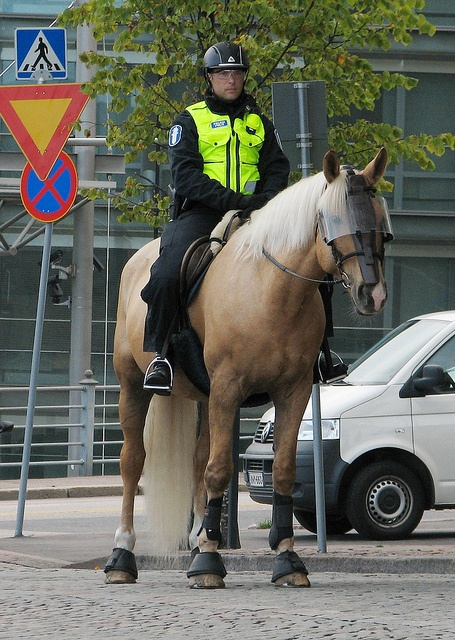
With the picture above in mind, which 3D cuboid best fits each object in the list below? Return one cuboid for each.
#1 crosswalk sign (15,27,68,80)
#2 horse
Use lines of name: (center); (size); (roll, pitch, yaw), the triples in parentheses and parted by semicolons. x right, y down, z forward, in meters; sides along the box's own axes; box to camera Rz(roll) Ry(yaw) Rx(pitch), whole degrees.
crosswalk sign: (-1.592, -2.257, 10.693); (0.492, 0.445, 0.016); (-9, 17, -35)
horse: (0.035, 0.290, 7.279); (1.148, 2.432, 2.243); (1, -1, -22)
